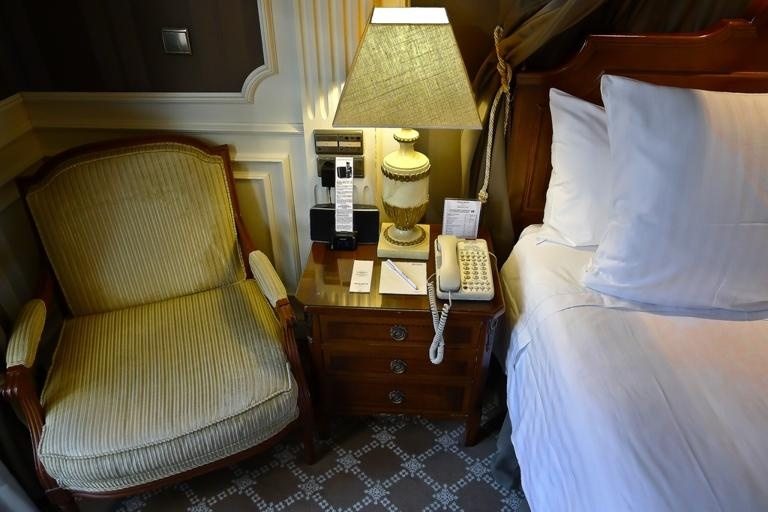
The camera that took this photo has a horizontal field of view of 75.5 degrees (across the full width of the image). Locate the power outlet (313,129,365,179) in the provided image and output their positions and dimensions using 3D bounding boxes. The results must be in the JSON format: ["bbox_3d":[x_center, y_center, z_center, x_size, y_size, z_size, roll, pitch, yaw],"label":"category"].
[{"bbox_3d":[-0.204,-0.483,2.288,0.209,0.238,0.086,1,37,2],"label":"power outlet"}]

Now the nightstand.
[{"bbox_3d":[0.057,0.332,2.481,0.829,0.926,0.813,0,36,2],"label":"nightstand"}]

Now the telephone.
[{"bbox_3d":[0.337,0.031,2.134,0.242,0.127,0.358,3,39,5],"label":"telephone"}]
